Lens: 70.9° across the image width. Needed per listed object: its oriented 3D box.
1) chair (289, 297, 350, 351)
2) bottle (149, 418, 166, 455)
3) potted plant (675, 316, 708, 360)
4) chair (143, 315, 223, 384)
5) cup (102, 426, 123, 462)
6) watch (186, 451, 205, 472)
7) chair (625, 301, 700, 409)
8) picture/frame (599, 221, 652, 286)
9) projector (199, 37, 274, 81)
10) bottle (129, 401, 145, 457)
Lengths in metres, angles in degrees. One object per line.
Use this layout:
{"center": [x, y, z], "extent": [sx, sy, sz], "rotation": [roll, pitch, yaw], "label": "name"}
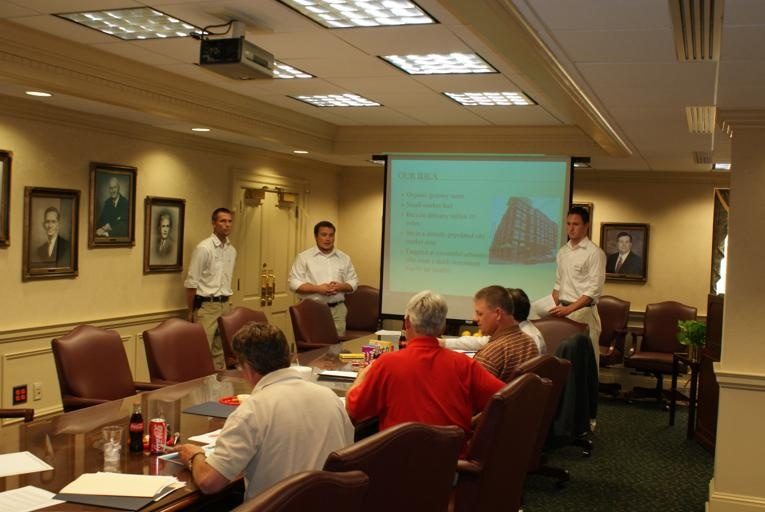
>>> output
{"center": [-0.741, 0.730, 5.757], "extent": [0.504, 0.670, 0.480], "rotation": [-6, -5, 41], "label": "chair"}
{"center": [-1.134, 0.890, 2.713], "extent": [0.085, 0.153, 0.200], "rotation": [-2, 2, -22], "label": "bottle"}
{"center": [3.342, 0.902, 5.703], "extent": [0.204, 0.376, 0.494], "rotation": [-1, 2, 6], "label": "potted plant"}
{"center": [-1.670, 0.759, 4.495], "extent": [0.510, 0.693, 0.544], "rotation": [2, -14, -44], "label": "chair"}
{"center": [-1.321, 0.924, 2.618], "extent": [0.104, 0.168, 0.103], "rotation": [1, 3, 0], "label": "cup"}
{"center": [-0.840, 0.932, 2.428], "extent": [0.077, 0.038, 0.089], "rotation": [-6, -5, 22], "label": "watch"}
{"center": [3.734, 1.242, 7.151], "extent": [0.677, 1.180, 1.245], "rotation": [0, 3, 38], "label": "chair"}
{"center": [3.797, -0.060, 8.246], "extent": [0.970, 1.222, 0.102], "rotation": [1, 3, 22], "label": "picture/frame"}
{"center": [-1.074, -1.444, 3.920], "extent": [0.465, 0.253, 0.304], "rotation": [-1, 2, 8], "label": "projector"}
{"center": [-1.236, 0.856, 2.683], "extent": [0.071, 0.218, 0.139], "rotation": [-3, 2, -27], "label": "bottle"}
